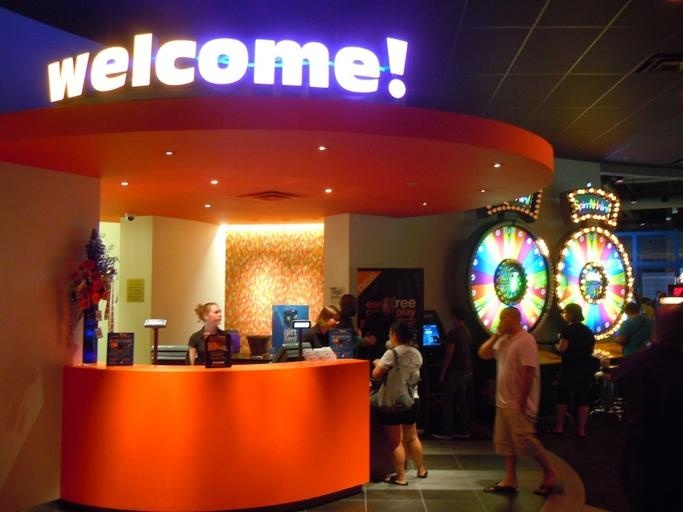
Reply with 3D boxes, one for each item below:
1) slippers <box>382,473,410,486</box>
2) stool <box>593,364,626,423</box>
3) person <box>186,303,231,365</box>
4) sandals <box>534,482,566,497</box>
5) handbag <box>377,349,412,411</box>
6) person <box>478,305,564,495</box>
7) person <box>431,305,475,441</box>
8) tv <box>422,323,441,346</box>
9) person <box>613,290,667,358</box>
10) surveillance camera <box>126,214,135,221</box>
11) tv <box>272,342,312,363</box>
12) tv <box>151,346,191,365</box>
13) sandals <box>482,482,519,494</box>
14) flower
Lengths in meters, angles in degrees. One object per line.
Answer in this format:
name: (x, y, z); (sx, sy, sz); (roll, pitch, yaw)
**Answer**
slippers: (0.585, 2.429, 6.284); (0.183, 0.066, 0.103); (2, -1, 29)
stool: (4.010, 2.015, 8.739); (0.428, 0.741, 0.523); (3, 3, 25)
person: (-1.554, 0.891, 6.563); (0.354, 0.745, 1.678); (1, 4, -15)
sandals: (2.134, 2.414, 5.988); (0.322, 0.140, 0.097); (-2, -42, 6)
handbag: (0.570, 1.298, 6.152); (0.371, 0.638, 0.162); (2, 3, 7)
person: (1.819, 1.478, 5.923); (0.799, 1.881, 0.470); (3, 3, 17)
person: (1.541, 1.580, 7.919); (0.581, 1.740, 0.417); (-1, 4, -45)
tv: (1.316, 1.170, 8.590); (0.294, 0.365, 0.044); (8, -23, -25)
person: (4.216, 1.064, 8.385); (0.439, 0.756, 0.473); (3, 3, 27)
surveillance camera: (-3.383, -0.627, 9.315); (0.126, 0.098, 0.114); (-1, -1, -16)
tv: (-0.559, 1.042, 6.361); (0.367, 0.230, 0.551); (2, 3, -7)
tv: (-1.878, 1.107, 6.499); (0.331, 0.257, 0.334); (1, 3, -16)
sandals: (1.655, 2.417, 6.000); (0.235, 0.081, 0.139); (2, -9, 1)
flower: (-2.589, 0.268, 6.034); (0.434, 1.101, 0.449); (1, 3, -16)
